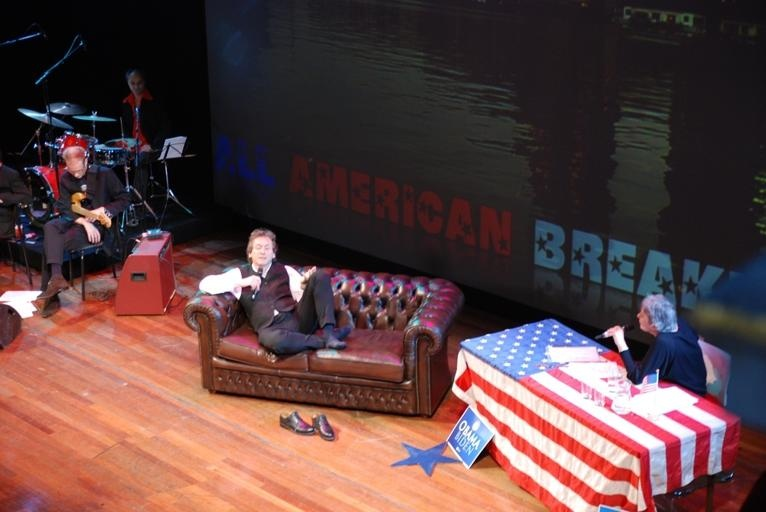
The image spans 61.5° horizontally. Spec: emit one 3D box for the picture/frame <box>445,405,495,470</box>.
[{"bbox_3d":[0.687,1.433,5.144,0.006,0.384,0.379,25,1,-26],"label":"picture/frame"}]

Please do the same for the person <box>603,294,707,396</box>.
[{"bbox_3d":[2.053,0.811,4.741,0.613,1.139,0.449,-8,22,12],"label":"person"}]

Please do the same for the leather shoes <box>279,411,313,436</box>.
[{"bbox_3d":[-0.736,1.408,5.449,0.295,0.136,0.143,11,14,34],"label":"leather shoes"}]

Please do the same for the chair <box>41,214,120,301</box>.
[{"bbox_3d":[-3.574,-0.027,7.316,0.557,0.818,0.919,7,26,8],"label":"chair"}]

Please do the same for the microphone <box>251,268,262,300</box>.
[{"bbox_3d":[-1.127,0.256,5.722,0.120,0.220,0.153,-4,9,-39],"label":"microphone"}]

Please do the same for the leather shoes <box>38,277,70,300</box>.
[{"bbox_3d":[-3.673,0.365,7.171,0.291,0.299,0.234,-11,29,-27],"label":"leather shoes"}]

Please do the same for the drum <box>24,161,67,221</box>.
[{"bbox_3d":[-4.127,-0.781,7.886,0.613,0.799,0.426,15,18,37],"label":"drum"}]

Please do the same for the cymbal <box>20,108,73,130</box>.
[{"bbox_3d":[-4.458,-1.828,8.471,0.431,0.101,0.424,17,23,-42],"label":"cymbal"}]

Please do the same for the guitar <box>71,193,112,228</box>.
[{"bbox_3d":[-3.381,-0.539,7.459,0.402,0.175,0.401,19,44,-20],"label":"guitar"}]

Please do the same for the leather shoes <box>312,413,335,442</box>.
[{"bbox_3d":[-0.490,1.430,5.433,0.103,0.119,0.278,-9,17,-29],"label":"leather shoes"}]

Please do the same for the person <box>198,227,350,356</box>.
[{"bbox_3d":[-0.946,0.330,5.795,1.247,1.226,0.752,-11,1,29],"label":"person"}]

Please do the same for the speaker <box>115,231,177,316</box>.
[{"bbox_3d":[-2.691,0.199,7.290,0.588,0.708,0.680,-1,26,-7],"label":"speaker"}]

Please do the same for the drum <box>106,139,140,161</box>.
[{"bbox_3d":[-3.374,-1.385,8.416,0.317,0.210,0.320,1,27,-1],"label":"drum"}]

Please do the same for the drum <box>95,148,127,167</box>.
[{"bbox_3d":[-3.452,-1.286,8.192,0.275,0.109,0.272,4,17,-1],"label":"drum"}]
